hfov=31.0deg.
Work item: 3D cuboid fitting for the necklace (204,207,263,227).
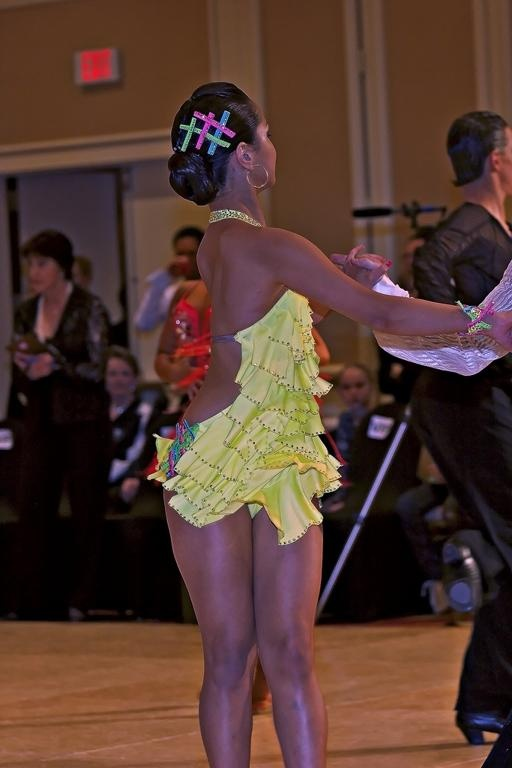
[{"bbox_3d":[-0.045,-0.311,1.720,0.077,0.024,0.059,8,4,1],"label":"necklace"}]

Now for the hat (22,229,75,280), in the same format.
[{"bbox_3d":[-0.747,-0.474,3.339,0.184,0.120,0.063,-1,-2,-44],"label":"hat"}]
